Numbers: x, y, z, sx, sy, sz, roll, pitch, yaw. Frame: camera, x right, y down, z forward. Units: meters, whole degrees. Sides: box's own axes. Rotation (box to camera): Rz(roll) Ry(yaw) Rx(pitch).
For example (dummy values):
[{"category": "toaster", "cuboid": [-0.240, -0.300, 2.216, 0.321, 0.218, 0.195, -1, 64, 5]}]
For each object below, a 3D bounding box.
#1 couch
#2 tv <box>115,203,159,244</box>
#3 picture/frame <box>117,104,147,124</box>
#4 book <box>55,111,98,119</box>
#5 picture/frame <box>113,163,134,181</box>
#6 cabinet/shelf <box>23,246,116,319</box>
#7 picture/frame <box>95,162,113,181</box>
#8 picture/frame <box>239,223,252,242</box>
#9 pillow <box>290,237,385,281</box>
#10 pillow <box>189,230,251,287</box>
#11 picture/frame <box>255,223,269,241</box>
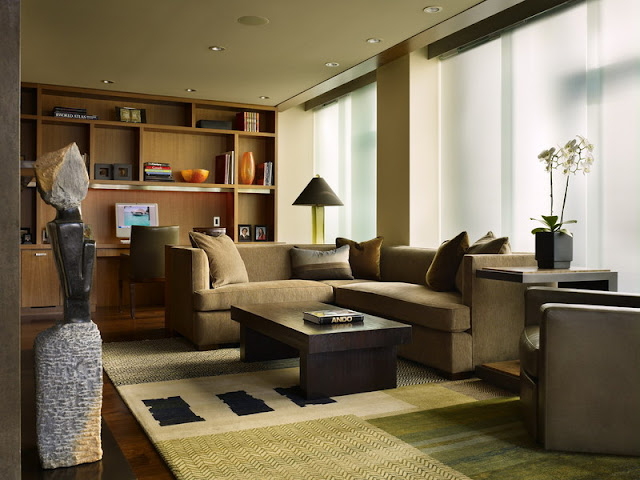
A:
[{"category": "couch", "cuboid": [0.393, 0.528, 4.198, 1.527, 0.629, 1.782, 1, -1, -26]}, {"category": "tv", "cuboid": [-2.367, -0.204, 6.364, 0.534, 0.527, 0.173, 1, -15, -22]}, {"category": "picture/frame", "cuboid": [-2.527, -1.687, 6.651, 0.377, 0.240, 0.041, 2, -8, -30]}, {"category": "book", "cuboid": [-3.082, -1.566, 6.292, 0.482, 0.088, 0.140, -1, 3, -32]}, {"category": "picture/frame", "cuboid": [-2.585, -0.884, 6.542, 0.225, 0.223, 0.230, -1, 2, -34]}, {"category": "cabinet/shelf", "cuboid": [-2.232, 0.379, 4.297, 0.889, 0.650, 0.311, 1, -2, -37]}, {"category": "picture/frame", "cuboid": [-2.805, -0.891, 6.456, 0.234, 0.201, 0.034, -1, 2, -24]}, {"category": "picture/frame", "cuboid": [-1.100, -0.102, 7.344, 0.243, 0.268, 0.018, 4, -6, -29]}, {"category": "pillow", "cuboid": [0.178, 0.204, 5.196, 0.664, 0.557, 0.243, 4, -21, 2]}, {"category": "pillow", "cuboid": [-0.967, 0.200, 4.708, 0.160, 0.520, 0.526, -29, -18, 25]}, {"category": "picture/frame", "cuboid": [-0.867, -0.108, 7.485, 0.266, 0.297, 0.043, 0, 4, -30]}]
